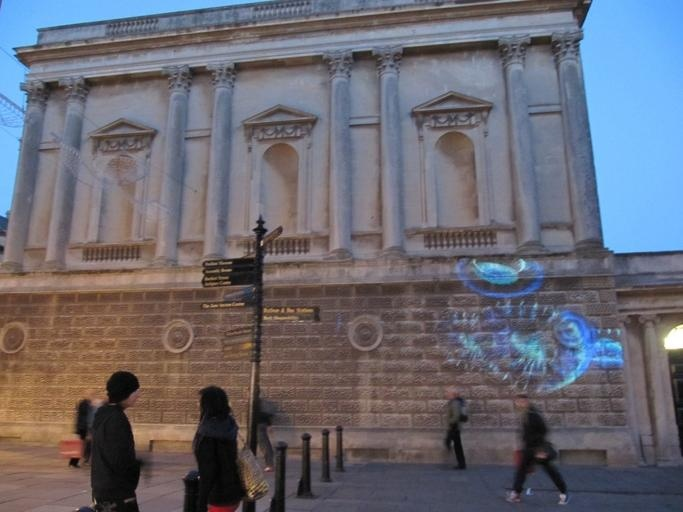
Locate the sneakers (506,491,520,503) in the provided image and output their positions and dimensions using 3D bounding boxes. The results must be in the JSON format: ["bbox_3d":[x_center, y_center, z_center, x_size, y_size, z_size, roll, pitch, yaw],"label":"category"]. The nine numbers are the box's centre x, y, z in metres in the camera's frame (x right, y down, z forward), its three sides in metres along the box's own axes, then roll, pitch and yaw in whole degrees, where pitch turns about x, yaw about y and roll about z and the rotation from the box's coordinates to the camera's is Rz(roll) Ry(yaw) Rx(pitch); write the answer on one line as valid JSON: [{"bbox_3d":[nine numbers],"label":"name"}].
[{"bbox_3d":[4.135,5.773,17.342,0.324,0.242,0.314,-4,-8,13],"label":"sneakers"}]

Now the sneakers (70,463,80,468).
[{"bbox_3d":[-7.560,5.916,20.382,0.305,0.163,0.092,0,-4,-17],"label":"sneakers"}]

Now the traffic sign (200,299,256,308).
[{"bbox_3d":[-2.965,1.232,18.672,1.255,0.178,0.544,-2,-8,4],"label":"traffic sign"}]

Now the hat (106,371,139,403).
[{"bbox_3d":[-4.057,2.334,13.272,0.664,0.424,0.447,12,5,23],"label":"hat"}]

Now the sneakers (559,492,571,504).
[{"bbox_3d":[5.301,5.768,17.182,0.245,0.224,0.347,-5,-8,15],"label":"sneakers"}]

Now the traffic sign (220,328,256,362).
[{"bbox_3d":[-2.625,2.268,18.314,0.378,0.718,1.145,6,-12,-44],"label":"traffic sign"}]

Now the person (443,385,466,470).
[{"bbox_3d":[3.398,5.136,21.396,0.681,2.223,0.972,-4,-10,5],"label":"person"}]

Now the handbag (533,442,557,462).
[{"bbox_3d":[4.861,4.676,17.299,0.442,0.319,0.533,-26,13,-2],"label":"handbag"}]

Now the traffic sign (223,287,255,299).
[{"bbox_3d":[-2.662,0.998,18.691,0.747,0.208,0.550,-12,-5,3],"label":"traffic sign"}]
